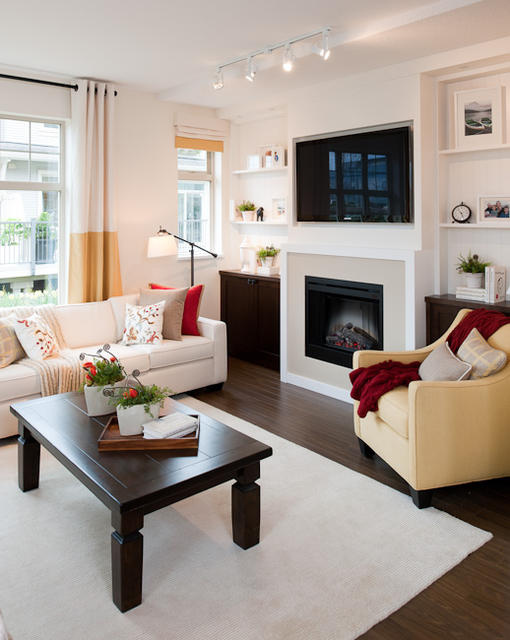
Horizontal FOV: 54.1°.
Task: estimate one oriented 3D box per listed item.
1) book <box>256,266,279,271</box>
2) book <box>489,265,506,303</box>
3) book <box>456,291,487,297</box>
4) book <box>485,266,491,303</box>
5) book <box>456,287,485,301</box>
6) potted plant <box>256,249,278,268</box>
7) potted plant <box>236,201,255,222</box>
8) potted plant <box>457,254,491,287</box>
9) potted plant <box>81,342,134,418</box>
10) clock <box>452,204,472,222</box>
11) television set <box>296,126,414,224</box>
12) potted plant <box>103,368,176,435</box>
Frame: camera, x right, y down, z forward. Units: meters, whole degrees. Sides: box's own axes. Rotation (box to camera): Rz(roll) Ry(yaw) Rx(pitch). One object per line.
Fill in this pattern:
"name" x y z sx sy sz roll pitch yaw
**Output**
"book" 0.118 -0.514 4.943 0.256 0.041 0.205 1 7 14
"book" 1.556 -0.233 3.208 0.090 0.227 0.179 3 8 30
"book" 1.416 -0.173 3.271 0.016 0.030 0.217 -4 8 -31
"book" 1.480 -0.223 3.175 0.031 0.301 0.224 1 1 28
"book" 1.417 -0.175 3.287 0.050 0.081 0.200 -7 9 -43
"potted plant" 0.135 -0.615 4.960 0.153 0.178 0.200 3 7 25
"potted plant" -0.063 -1.146 5.347 0.193 0.205 0.202 -1 0 42
"potted plant" 1.425 -0.324 3.395 0.220 0.243 0.224 0 2 -13
"potted plant" -0.744 0.314 2.500 0.223 0.319 0.233 -7 -8 44
"clock" 1.434 -0.743 3.479 0.038 0.119 0.134 -5 8 -34
"television set" 0.734 -1.084 3.798 1.114 0.690 0.023 -10 14 -23
"potted plant" -0.528 0.367 2.273 0.281 0.261 0.285 0 5 -27
